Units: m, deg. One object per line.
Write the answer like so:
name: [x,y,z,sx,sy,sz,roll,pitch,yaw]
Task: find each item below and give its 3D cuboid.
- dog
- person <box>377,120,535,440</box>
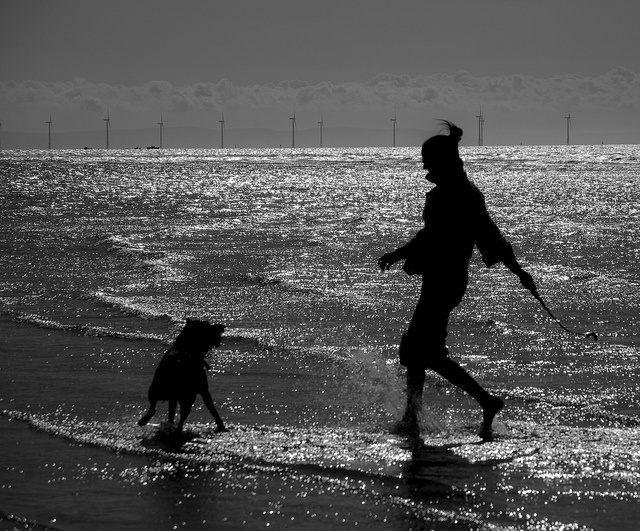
dog: [-1.213,0.892,11.853,0.475,0.618,1.349,6,21,12]
person: [1.068,0.100,11.907,1.093,2.658,0.413,1,5,5]
